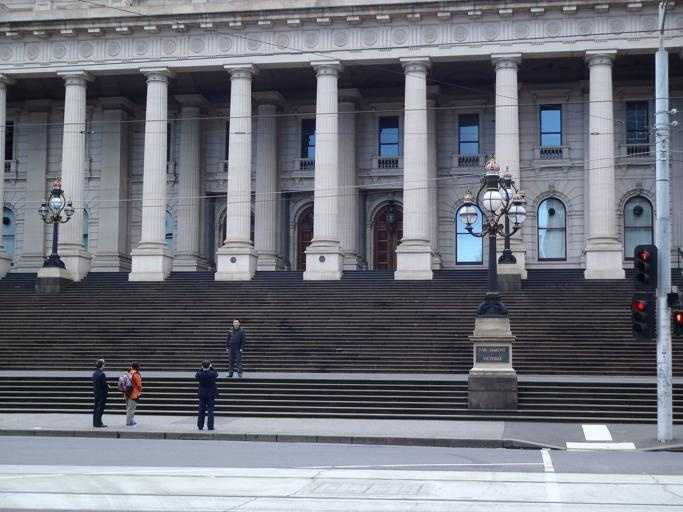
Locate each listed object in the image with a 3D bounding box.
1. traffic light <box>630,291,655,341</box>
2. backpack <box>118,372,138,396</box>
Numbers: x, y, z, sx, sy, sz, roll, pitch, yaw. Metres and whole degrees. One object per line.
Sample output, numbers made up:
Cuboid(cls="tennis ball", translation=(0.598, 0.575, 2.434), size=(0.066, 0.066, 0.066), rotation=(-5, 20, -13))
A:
Cuboid(cls="traffic light", translation=(9.259, 1.696, 48.124), size=(0.678, 1.406, 0.346), rotation=(0, -4, 12))
Cuboid(cls="backpack", translation=(-6.815, 3.914, 49.975), size=(0.451, 0.693, 0.304), rotation=(1, -4, -5))
